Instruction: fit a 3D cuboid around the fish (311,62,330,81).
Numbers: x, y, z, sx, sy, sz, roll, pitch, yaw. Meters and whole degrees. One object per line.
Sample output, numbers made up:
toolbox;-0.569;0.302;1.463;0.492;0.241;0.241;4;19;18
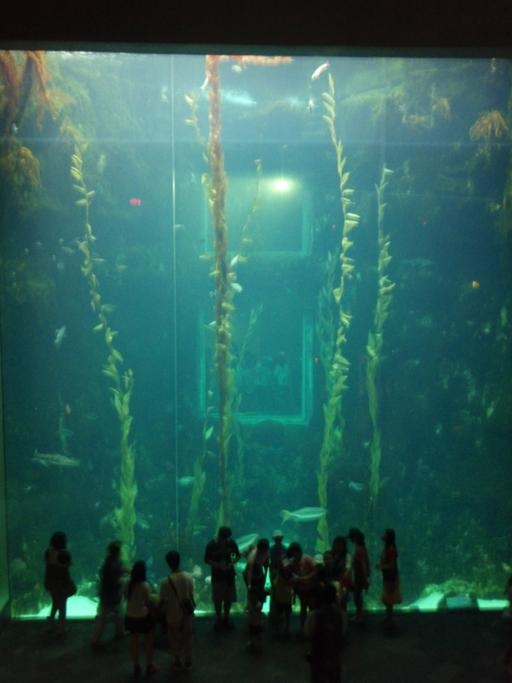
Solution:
fish;0.718;-3.082;7.835;0.201;0.153;0.126;-2;-9;7

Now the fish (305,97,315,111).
fish;0.626;-2.745;7.968;0.090;0.121;0.075;-2;-9;10

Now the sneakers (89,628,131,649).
sneakers;-1.331;2.674;6.164;0.216;0.156;0.153;19;-30;-29

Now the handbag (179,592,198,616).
handbag;-0.557;2.209;5.758;0.119;0.285;0.140;2;25;11

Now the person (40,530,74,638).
person;-1.810;2.188;6.258;0.368;0.921;0.317;-8;-11;41

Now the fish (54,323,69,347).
fish;-2.137;-0.064;7.507;0.036;0.249;0.175;-4;-9;28

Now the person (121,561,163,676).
person;-0.976;2.334;5.839;0.258;0.980;0.554;1;-9;-9
